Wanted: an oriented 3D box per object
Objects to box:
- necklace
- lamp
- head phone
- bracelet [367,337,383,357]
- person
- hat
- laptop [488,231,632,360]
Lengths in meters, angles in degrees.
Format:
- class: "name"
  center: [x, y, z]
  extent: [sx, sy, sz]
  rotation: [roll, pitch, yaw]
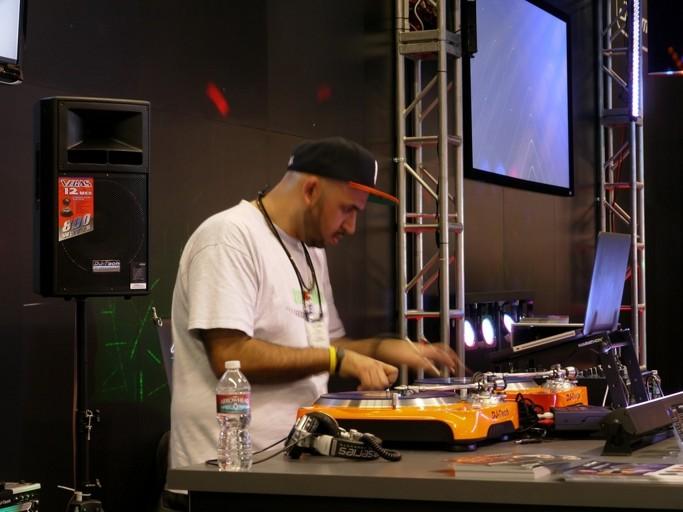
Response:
- class: "necklace"
  center: [-0.227, 0.017, 2.340]
  extent: [0.071, 0.452, 0.225]
  rotation: [-22, -7, 23]
- class: "lamp"
  center: [1.243, 0.543, 5.705]
  extent: [0.208, 0.553, 0.527]
  rotation: [4, 6, 40]
- class: "head phone"
  center: [-0.025, 0.487, 1.793]
  extent: [0.174, 0.089, 0.140]
  rotation: [26, -1, 5]
- class: "bracelet"
  center: [0.115, 0.320, 2.403]
  extent: [0.051, 0.059, 0.060]
  rotation: [7, -13, -21]
- class: "person"
  center: [0.006, 0.219, 3.054]
  extent: [1.123, 2.303, 1.133]
  rotation: [-2, -5, 11]
- class: "hat"
  center: [-0.010, -0.268, 2.294]
  extent: [0.256, 0.135, 0.187]
  rotation: [13, -1, -2]
- class: "laptop"
  center: [0.759, 0.132, 2.446]
  extent: [0.422, 0.389, 0.511]
  rotation: [-7, -4, 30]
